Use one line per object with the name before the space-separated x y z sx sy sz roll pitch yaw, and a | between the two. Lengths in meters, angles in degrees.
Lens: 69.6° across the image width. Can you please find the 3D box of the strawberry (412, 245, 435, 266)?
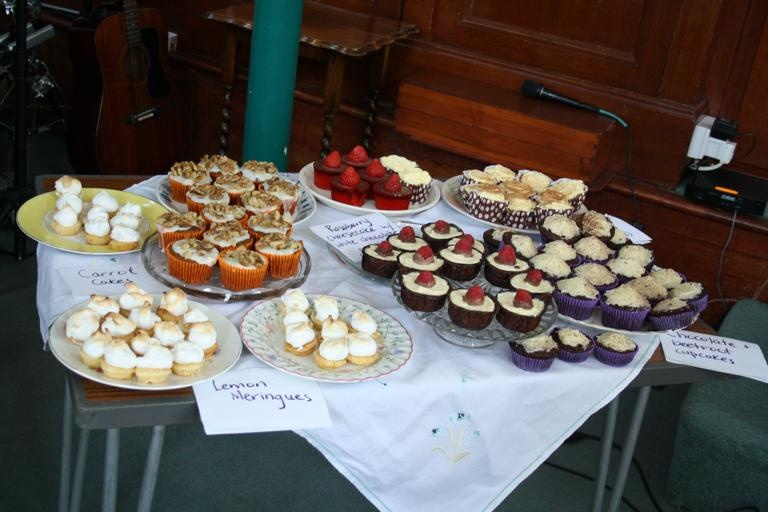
strawberry | 0.110 0.003 1.524 0.053 0.049 0.050 -3 38 -35

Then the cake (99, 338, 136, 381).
cake | -0.546 0.219 1.173 0.081 0.072 0.077 6 20 -6

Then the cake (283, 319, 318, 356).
cake | -0.197 0.192 1.326 0.079 0.071 0.075 0 33 -5

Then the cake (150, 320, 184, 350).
cake | -0.483 0.178 1.236 0.059 0.026 0.061 9 36 -16

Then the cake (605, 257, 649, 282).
cake | 0.734 0.041 1.665 0.083 0.025 0.080 -17 38 -18

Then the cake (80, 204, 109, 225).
cake | -0.808 -0.119 1.538 0.062 0.022 0.065 -1 38 -7

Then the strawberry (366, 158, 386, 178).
strawberry | -0.036 -0.302 1.960 0.068 0.083 0.063 -6 44 -9

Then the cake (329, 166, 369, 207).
cake | -0.124 -0.240 1.929 0.140 0.118 0.133 7 37 -7

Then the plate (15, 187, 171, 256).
plate | -0.831 -0.093 1.572 0.281 0.030 0.295 -13 39 -35

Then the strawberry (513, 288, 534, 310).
strawberry | 0.351 0.107 1.428 0.050 0.048 0.049 -20 28 -30

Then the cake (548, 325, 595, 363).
cake | 0.489 0.230 1.429 0.089 0.053 0.096 0 22 -2

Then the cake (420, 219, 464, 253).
cake | 0.178 -0.065 1.676 0.107 0.071 0.109 1 29 0

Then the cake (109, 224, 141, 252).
cake | -0.705 -0.042 1.502 0.074 0.062 0.076 32 37 30

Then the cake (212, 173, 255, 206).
cake | -0.476 -0.215 1.748 0.103 0.069 0.104 2 24 -4

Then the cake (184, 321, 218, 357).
cake | -0.395 0.191 1.228 0.060 0.078 0.026 -2 -14 -30

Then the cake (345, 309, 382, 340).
cake | -0.043 0.168 1.353 0.069 0.041 0.071 40 31 28

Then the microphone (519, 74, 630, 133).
microphone | 0.897 -0.698 2.564 0.631 0.093 0.127 23 74 13

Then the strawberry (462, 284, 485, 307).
strawberry | 0.228 0.104 1.391 0.050 0.039 0.049 21 42 3

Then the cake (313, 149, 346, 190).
cake | -0.193 -0.289 1.972 0.135 0.121 0.129 13 29 -8

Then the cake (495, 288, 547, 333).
cake | 0.342 0.147 1.402 0.122 0.081 0.116 3 29 -3

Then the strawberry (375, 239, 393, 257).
strawberry | 0.002 -0.017 1.569 0.043 0.028 0.042 14 28 11

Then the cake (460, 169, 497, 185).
cake | 0.348 -0.276 2.025 0.082 0.026 0.071 2 25 -36

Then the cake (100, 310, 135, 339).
cake | -0.591 0.158 1.227 0.063 0.026 0.059 33 37 12

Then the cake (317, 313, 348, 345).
cake | -0.126 0.172 1.306 0.062 0.049 0.059 1 22 1

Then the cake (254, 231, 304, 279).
cake | -0.281 -0.002 1.507 0.125 0.102 0.131 1 13 -1

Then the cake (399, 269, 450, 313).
cake | 0.100 0.092 1.440 0.116 0.071 0.116 24 34 25

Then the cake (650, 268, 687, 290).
cake | 0.866 0.061 1.699 0.077 0.026 0.073 -2 26 -2

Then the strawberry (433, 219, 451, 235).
strawberry | 0.175 -0.088 1.687 0.041 0.039 0.042 22 21 38

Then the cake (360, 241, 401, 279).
cake | -0.008 0.015 1.617 0.112 0.087 0.108 17 21 -3

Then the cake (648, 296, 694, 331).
cake | 0.802 0.160 1.552 0.105 0.062 0.102 -17 11 7

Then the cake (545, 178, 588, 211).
cake | 0.669 -0.225 2.019 0.119 0.067 0.141 3 33 -5

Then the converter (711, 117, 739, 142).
converter | 1.546 -0.572 2.522 0.098 0.082 0.089 24 40 24

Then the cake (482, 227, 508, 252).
cake | 0.347 -0.051 1.754 0.074 0.048 0.078 -3 30 -3

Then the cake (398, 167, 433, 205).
cake | 0.117 -0.253 1.999 0.130 0.093 0.129 15 30 18

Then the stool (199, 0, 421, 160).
stool | -0.454 -0.946 3.048 0.973 0.873 0.923 -9 47 -28

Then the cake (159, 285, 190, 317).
cake | -0.496 0.117 1.300 0.071 0.063 0.068 10 24 -1

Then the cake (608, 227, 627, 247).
cake | 0.784 -0.055 1.846 0.060 0.019 0.073 1 39 3

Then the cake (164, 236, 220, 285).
cake | -0.498 0.013 1.441 0.122 0.090 0.131 13 16 -13
